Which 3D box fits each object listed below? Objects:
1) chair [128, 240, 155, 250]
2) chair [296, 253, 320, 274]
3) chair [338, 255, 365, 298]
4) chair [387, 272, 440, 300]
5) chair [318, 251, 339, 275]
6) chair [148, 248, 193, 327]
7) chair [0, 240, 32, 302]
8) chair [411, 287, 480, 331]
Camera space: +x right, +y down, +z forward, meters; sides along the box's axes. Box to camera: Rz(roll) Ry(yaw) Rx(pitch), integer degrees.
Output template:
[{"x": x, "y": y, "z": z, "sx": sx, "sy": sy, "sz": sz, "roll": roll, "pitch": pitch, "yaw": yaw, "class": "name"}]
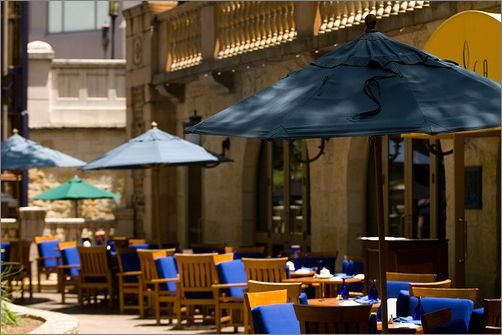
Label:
[{"x": -2.435, "y": 1.770, "z": 29.898, "sx": 0.297, "sy": 0.229, "sz": 0.307, "roll": 0, "pitch": 1, "yaw": 7, "class": "chair"}, {"x": 1.202, "y": 1.965, "z": 27.056, "sx": 0.386, "sy": 0.435, "sz": 0.396, "roll": 1, "pitch": -1, "yaw": -7, "class": "chair"}, {"x": 2.146, "y": 2.206, "z": 26.497, "sx": 0.688, "sy": 1.091, "sz": 0.666, "roll": 1, "pitch": -3, "yaw": -4, "class": "chair"}, {"x": 2.940, "y": 2.151, "z": 24.286, "sx": 0.532, "sy": 0.682, "sz": 0.598, "roll": 3, "pitch": -10, "yaw": -10, "class": "chair"}, {"x": 1.654, "y": 1.960, "z": 27.166, "sx": 0.384, "sy": 0.704, "sz": 0.398, "roll": -2, "pitch": -13, "yaw": 16, "class": "chair"}, {"x": -1.945, "y": 2.559, "z": 27.262, "sx": 1.158, "sy": 1.699, "sz": 1.284, "roll": -1, "pitch": -3, "yaw": 10, "class": "chair"}, {"x": -5.287, "y": 2.291, "z": 29.591, "sx": 0.629, "sy": 1.319, "sz": 1.449, "roll": -1, "pitch": -6, "yaw": -1, "class": "chair"}, {"x": 3.450, "y": 2.400, "z": 23.194, "sx": 0.726, "sy": 0.926, "sz": 0.822, "roll": -8, "pitch": -25, "yaw": 34, "class": "chair"}]
